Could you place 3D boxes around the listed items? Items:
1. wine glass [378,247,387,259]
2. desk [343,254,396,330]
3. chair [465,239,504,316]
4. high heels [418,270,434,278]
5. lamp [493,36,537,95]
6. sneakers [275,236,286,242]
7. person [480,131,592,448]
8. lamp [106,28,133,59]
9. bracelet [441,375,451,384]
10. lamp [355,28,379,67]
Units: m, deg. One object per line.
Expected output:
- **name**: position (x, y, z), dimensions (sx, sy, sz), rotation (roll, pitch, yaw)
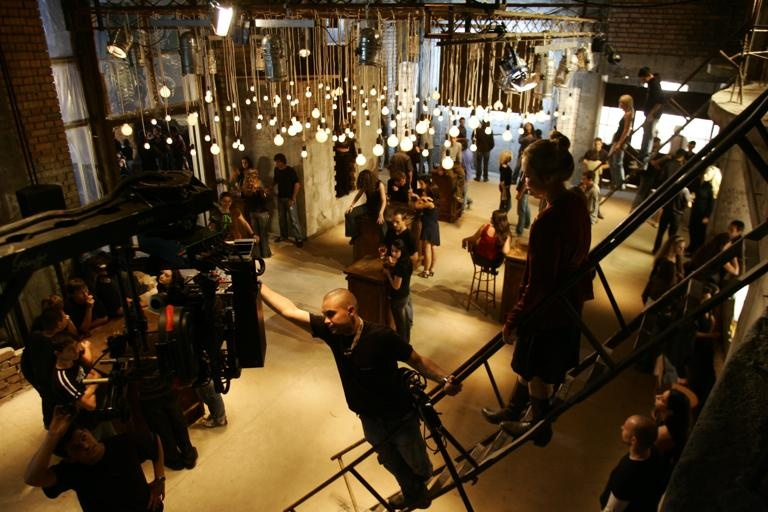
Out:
- **wine glass**: position (-0.007, -0.048, 8.726), dimensions (0.130, 0.218, 0.195), rotation (1, 19, 0)
- **desk**: position (-0.178, 0.559, 8.253), dimensions (0.377, 0.955, 0.864), rotation (-1, 32, 15)
- **chair**: position (1.888, 0.355, 10.313), dimensions (0.730, 1.154, 0.748), rotation (1, 20, -11)
- **high heels**: position (0.861, 0.376, 11.375), dimensions (0.258, 0.105, 0.134), rotation (-2, 8, -36)
- **lamp**: position (2.301, -3.208, 9.532), dimensions (0.593, 1.012, 1.017), rotation (-2, -7, 21)
- **sneakers**: position (-2.440, -0.376, 13.041), dimensions (0.246, 0.176, 0.089), rotation (1, 48, -4)
- **person**: position (1.457, 0.412, 4.986), dimensions (0.860, 2.794, 0.798), rotation (-13, 24, -36)
- **lamp**: position (-4.223, -3.394, 8.857), dimensions (0.328, 0.439, 0.862), rotation (-8, 21, -24)
- **bracelet**: position (0.583, 1.164, 5.192), dimensions (0.034, 0.052, 0.070), rotation (6, -9, -31)
- **lamp**: position (-0.218, -3.021, 8.060), dimensions (0.455, 0.655, 0.442), rotation (0, 27, -1)
